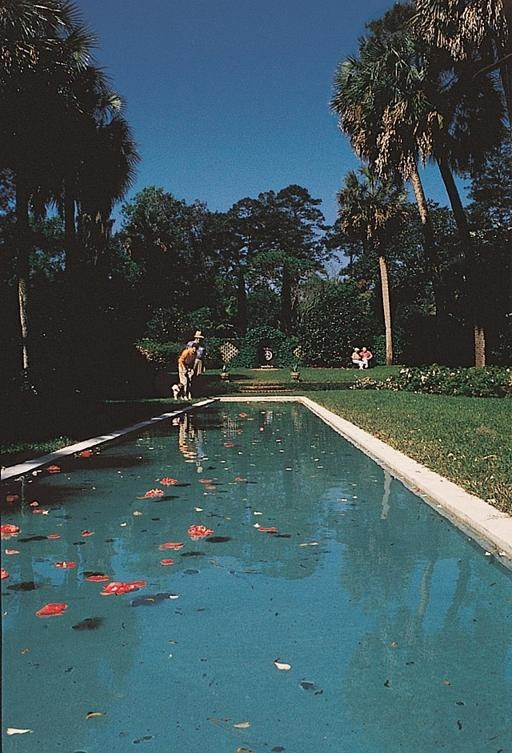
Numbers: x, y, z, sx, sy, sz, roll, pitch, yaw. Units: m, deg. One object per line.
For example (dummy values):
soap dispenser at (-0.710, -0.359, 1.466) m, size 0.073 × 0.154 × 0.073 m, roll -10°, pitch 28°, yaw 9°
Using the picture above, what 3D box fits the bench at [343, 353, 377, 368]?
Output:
bench at (5.468, -0.952, 32.696) m, size 0.735 × 0.729 × 0.990 m, roll 8°, pitch 5°, yaw 30°

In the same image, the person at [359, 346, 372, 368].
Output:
person at (5.661, -1.016, 32.674) m, size 0.643 × 1.036 × 1.493 m, roll -1°, pitch 3°, yaw 9°
